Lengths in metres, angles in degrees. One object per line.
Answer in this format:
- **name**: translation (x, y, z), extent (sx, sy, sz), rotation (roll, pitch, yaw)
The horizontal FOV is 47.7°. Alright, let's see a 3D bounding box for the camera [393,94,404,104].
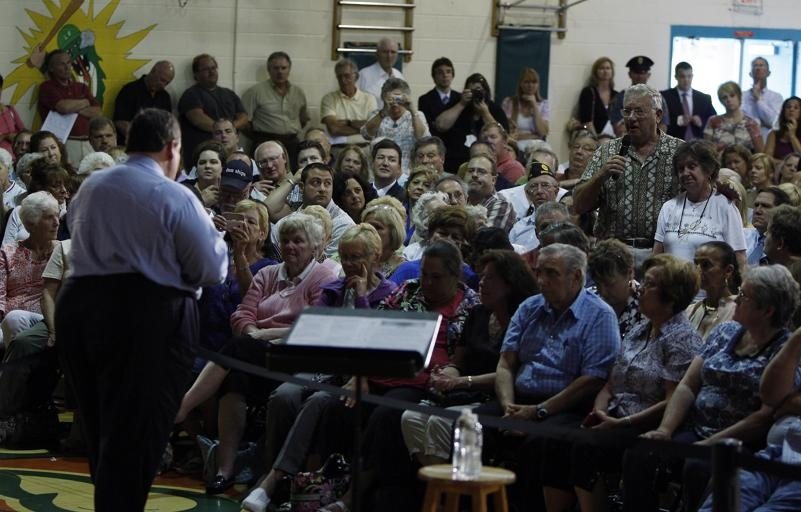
- **camera**: translation (-0.016, -1.866, 10.767), extent (0.098, 0.102, 0.099), rotation (2, 0, 32)

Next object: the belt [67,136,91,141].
- **belt**: translation (-4.368, -1.603, 12.315), extent (0.153, 0.037, 0.144), rotation (0, -1, -12)

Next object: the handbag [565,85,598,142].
- **handbag**: translation (2.739, -2.163, 13.514), extent (0.212, 0.872, 0.534), rotation (6, -6, -20)

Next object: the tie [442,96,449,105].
- **tie**: translation (0.597, -2.045, 11.810), extent (0.115, 0.110, 0.027), rotation (1, -26, -18)

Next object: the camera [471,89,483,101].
- **camera**: translation (0.948, -1.992, 11.193), extent (0.138, 0.141, 0.143), rotation (0, -9, 1)

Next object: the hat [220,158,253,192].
- **hat**: translation (-1.546, -0.802, 8.593), extent (0.330, 0.257, 0.509), rotation (13, 16, 1)

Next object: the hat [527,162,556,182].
- **hat**: translation (1.464, -0.890, 9.418), extent (0.189, 0.145, 0.279), rotation (-6, -8, 29)

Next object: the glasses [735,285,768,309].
- **glasses**: translation (2.207, 0.256, 5.685), extent (0.138, 0.063, 0.135), rotation (18, -1, -4)
